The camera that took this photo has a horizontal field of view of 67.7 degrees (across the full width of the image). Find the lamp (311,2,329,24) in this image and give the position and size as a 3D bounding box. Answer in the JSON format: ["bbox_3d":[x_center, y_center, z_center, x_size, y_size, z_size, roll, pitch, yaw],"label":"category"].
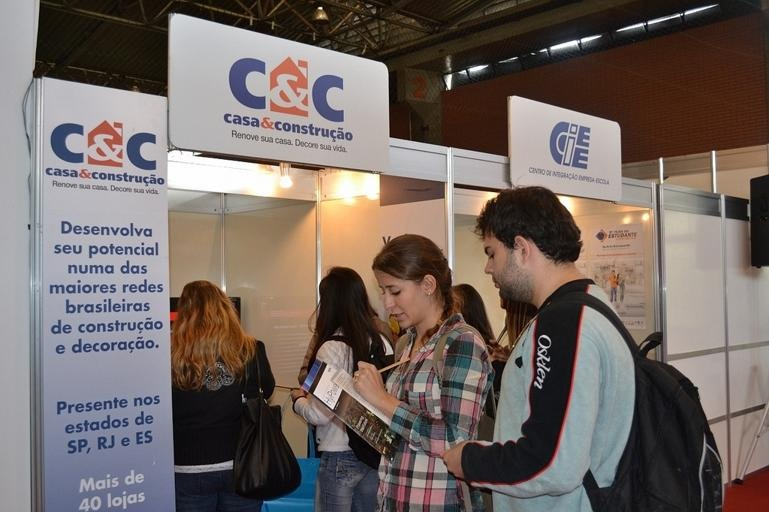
[{"bbox_3d":[-0.985,-3.764,8.853,0.246,0.269,0.414,1,1,-7],"label":"lamp"}]
